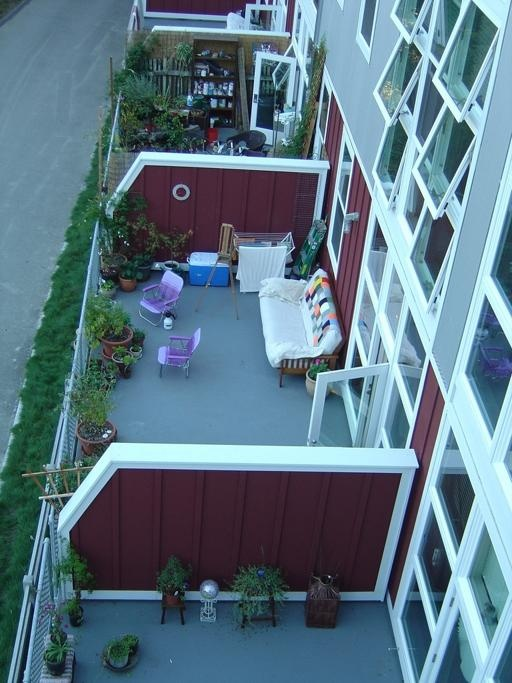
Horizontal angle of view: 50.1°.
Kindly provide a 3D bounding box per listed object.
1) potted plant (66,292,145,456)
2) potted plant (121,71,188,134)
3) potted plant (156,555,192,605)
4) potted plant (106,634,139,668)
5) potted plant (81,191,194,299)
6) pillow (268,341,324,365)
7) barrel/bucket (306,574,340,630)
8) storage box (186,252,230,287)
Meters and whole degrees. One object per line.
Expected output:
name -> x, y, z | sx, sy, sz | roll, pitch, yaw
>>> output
potted plant -> -2.443, 0.457, 8.971 | 0.804, 1.320, 3.292 | 0, 49, -12
potted plant -> -2.936, -6.820, 16.251 | 1.918, 0.956, 2.170 | 0, 75, -4
potted plant -> -0.842, 2.687, 6.248 | 0.489, 0.660, 0.443 | 3, 41, -6
potted plant -> -1.376, 3.188, 5.678 | 0.211, 0.158, 0.326 | 4, 21, -3
potted plant -> -2.671, -2.468, 12.535 | 1.900, 2.373, 1.934 | -16, 35, -25
pillow -> 0.669, 0.205, 9.638 | 0.896, 0.406, 0.493 | 1, 30, -3
barrel/bucket -> 0.753, 2.956, 6.166 | 0.382, 0.739, 0.409 | 1, 45, -1
storage box -> -1.052, -1.595, 12.169 | 0.752, 0.518, 0.816 | 5, 34, -4
